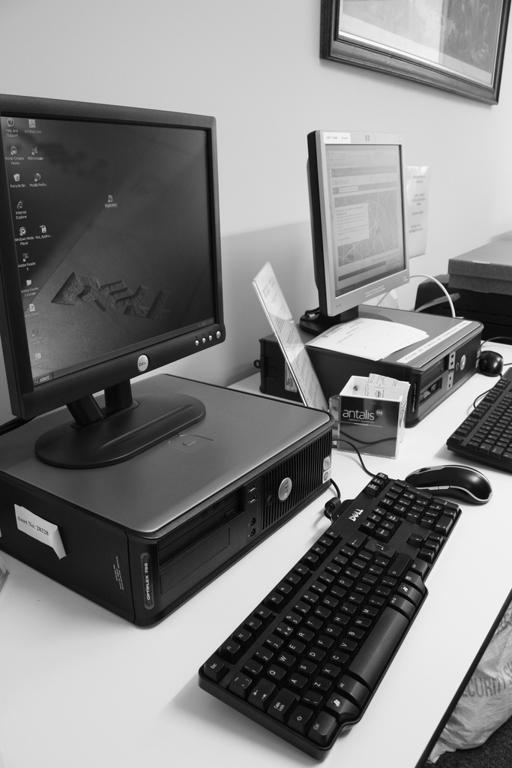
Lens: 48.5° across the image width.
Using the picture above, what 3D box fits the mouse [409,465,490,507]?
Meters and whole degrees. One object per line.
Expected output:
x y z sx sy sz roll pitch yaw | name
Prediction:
0.284 0.131 0.842 0.103 0.043 0.056 9 17 31 | mouse

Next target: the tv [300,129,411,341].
0.207 -0.335 1.254 0.140 0.408 0.378 7 20 36 | tv
